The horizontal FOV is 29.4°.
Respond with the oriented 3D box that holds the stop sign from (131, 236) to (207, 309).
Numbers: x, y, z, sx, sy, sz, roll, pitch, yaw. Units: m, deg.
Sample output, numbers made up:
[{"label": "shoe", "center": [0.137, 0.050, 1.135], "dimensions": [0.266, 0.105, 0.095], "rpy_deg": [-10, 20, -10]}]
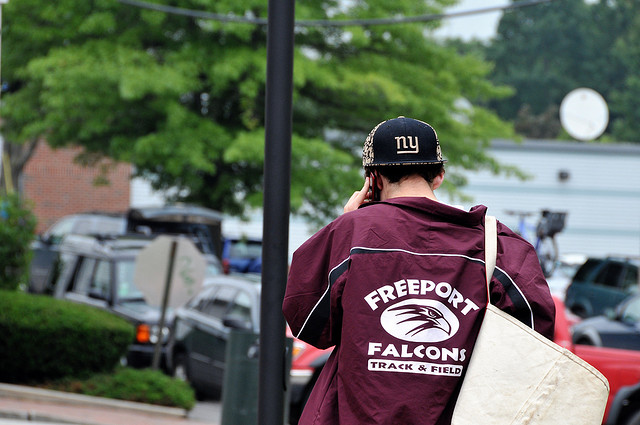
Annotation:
[{"label": "stop sign", "center": [-1.591, 0.660, 13.211], "dimensions": [0.541, 0.852, 1.014], "rpy_deg": [2, 26, 9]}]
